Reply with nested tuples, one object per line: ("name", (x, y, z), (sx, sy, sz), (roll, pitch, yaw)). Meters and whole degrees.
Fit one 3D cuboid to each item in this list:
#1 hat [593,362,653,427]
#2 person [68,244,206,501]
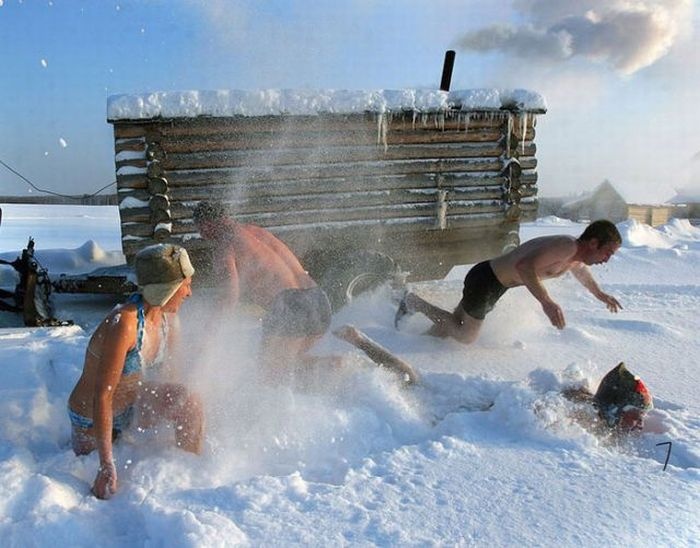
("hat", (2.274, 0.974, 6.912), (0.523, 0.238, 0.638), (-30, -15, -50))
("person", (-1.666, 0.941, 6.484), (1.206, 2.267, 1.004), (-1, 8, -40))
